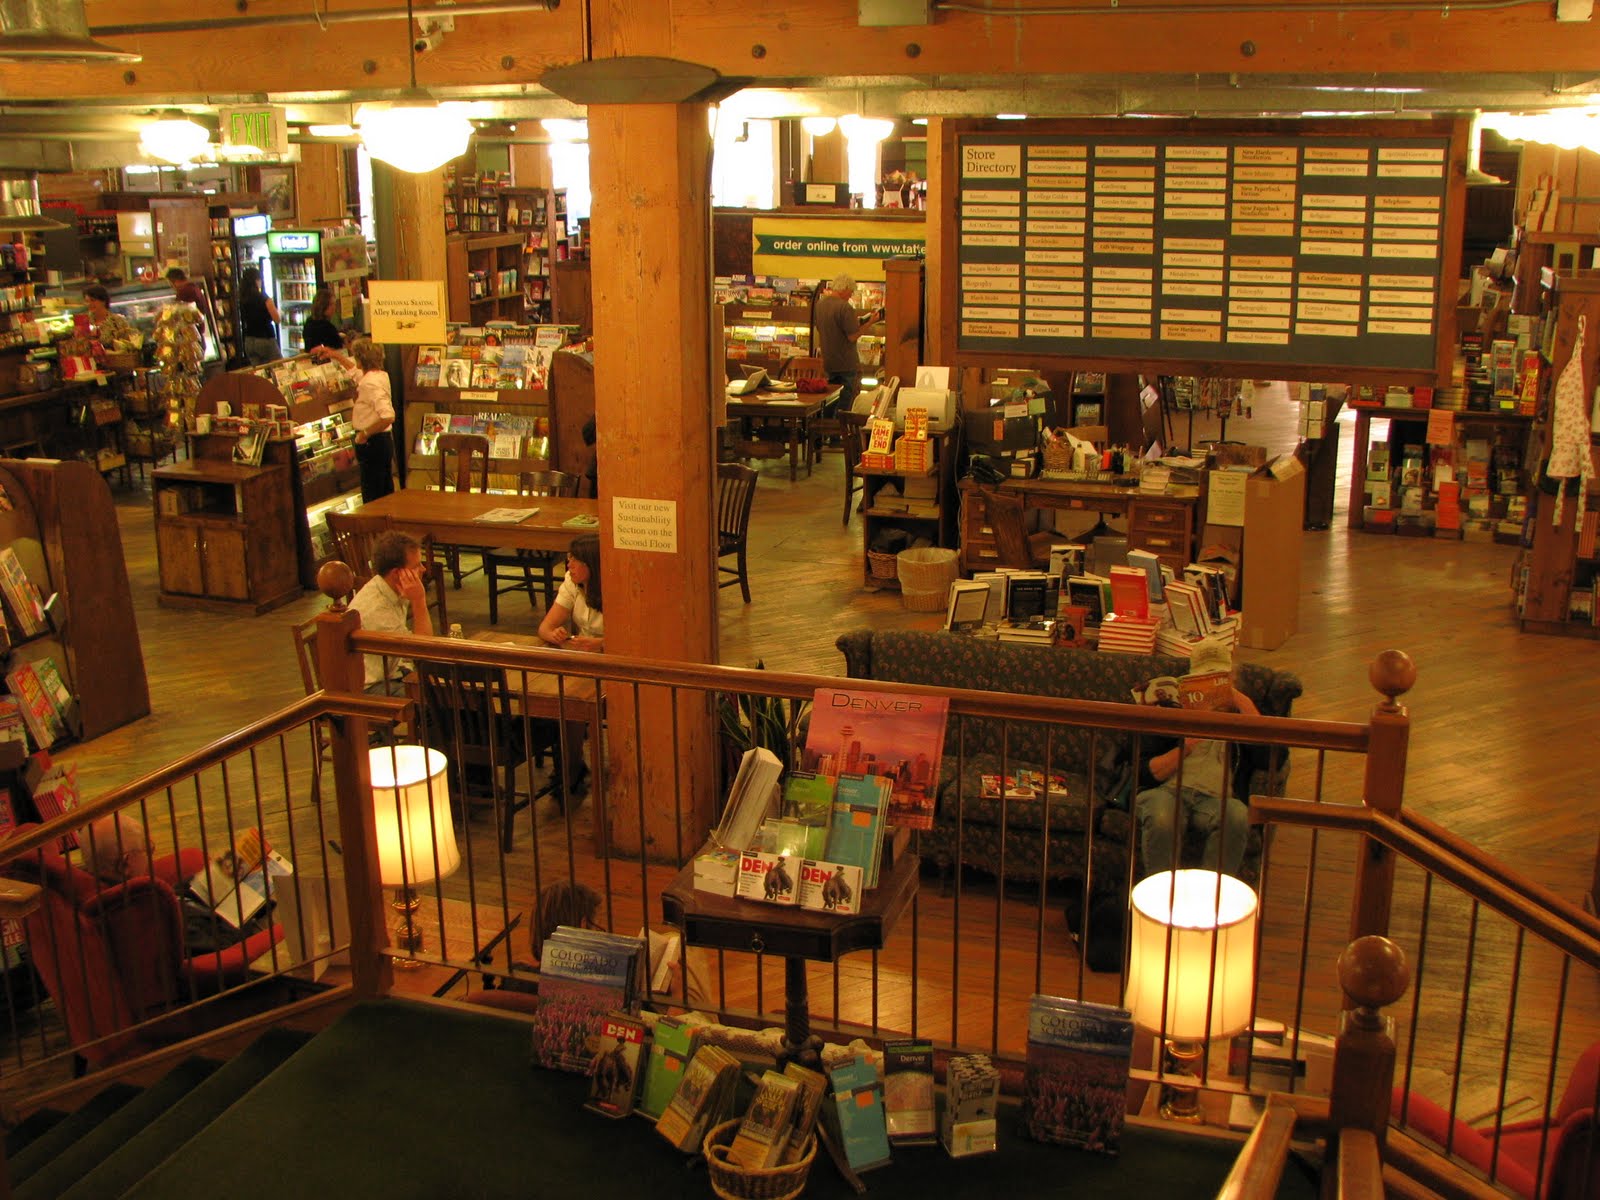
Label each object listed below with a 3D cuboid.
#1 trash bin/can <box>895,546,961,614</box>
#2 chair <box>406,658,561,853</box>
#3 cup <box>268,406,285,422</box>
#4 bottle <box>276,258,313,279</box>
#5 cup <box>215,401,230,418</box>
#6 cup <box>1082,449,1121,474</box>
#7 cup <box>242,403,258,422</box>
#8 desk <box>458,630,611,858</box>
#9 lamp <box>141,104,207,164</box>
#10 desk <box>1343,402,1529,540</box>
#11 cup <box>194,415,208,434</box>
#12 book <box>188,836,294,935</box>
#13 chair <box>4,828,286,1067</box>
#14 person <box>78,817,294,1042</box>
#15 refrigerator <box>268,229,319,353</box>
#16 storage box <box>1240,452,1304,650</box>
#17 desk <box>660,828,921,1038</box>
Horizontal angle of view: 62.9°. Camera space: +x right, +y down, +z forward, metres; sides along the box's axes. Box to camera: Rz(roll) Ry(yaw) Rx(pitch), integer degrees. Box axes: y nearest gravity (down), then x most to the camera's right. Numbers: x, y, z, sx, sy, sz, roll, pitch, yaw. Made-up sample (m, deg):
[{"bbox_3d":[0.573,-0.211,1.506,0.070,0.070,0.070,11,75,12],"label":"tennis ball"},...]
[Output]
[{"bbox_3d":[1.076,-0.194,11.463,0.501,0.473,0.523,0,14,5],"label":"trash bin/can"},{"bbox_3d":[-1.741,0.753,7.498,0.610,1.096,0.711,6,18,22],"label":"chair"},{"bbox_3d":[-4.507,-1.609,11.255,0.128,0.129,0.131,2,20,-1],"label":"cup"},{"bbox_3d":[-7.367,-4.879,19.176,0.343,0.336,0.089,2,35,-1],"label":"bottle"},{"bbox_3d":[-5.013,-1.667,11.396,0.121,0.156,0.119,1,3,0],"label":"cup"},{"bbox_3d":[2.589,-1.225,11.437,0.306,0.296,0.183,-10,27,-14],"label":"cup"},{"bbox_3d":[-4.725,-1.627,11.302,0.124,0.145,0.126,2,9,0],"label":"cup"},{"bbox_3d":[-1.408,0.784,6.908,0.631,0.771,1.093,5,20,9],"label":"desk"},{"bbox_3d":[-6.014,-4.518,12.601,0.534,0.384,0.541,23,36,33],"label":"lamp"},{"bbox_3d":[6.479,-1.249,13.326,1.951,1.344,1.095,6,-8,16],"label":"desk"},{"bbox_3d":[-5.139,-1.507,11.271,0.122,0.157,0.107,-5,13,-25],"label":"cup"},{"bbox_3d":[-2.590,1.311,6.143,0.420,0.113,0.496,-7,60,-1],"label":"book"},{"bbox_3d":[-2.730,1.471,5.477,0.890,0.962,0.929,-19,28,-40],"label":"chair"},{"bbox_3d":[-2.619,1.435,5.563,0.710,0.794,0.744,-6,28,-13],"label":"person"},{"bbox_3d":[-7.403,-4.431,19.339,0.716,2.093,0.613,2,26,-10],"label":"refrigerator"},{"bbox_3d":[3.744,-0.352,10.465,0.449,1.806,1.156,4,15,22],"label":"storage box"},{"bbox_3d":[-0.024,0.986,4.193,0.628,0.645,0.645,5,26,13],"label":"desk"}]
